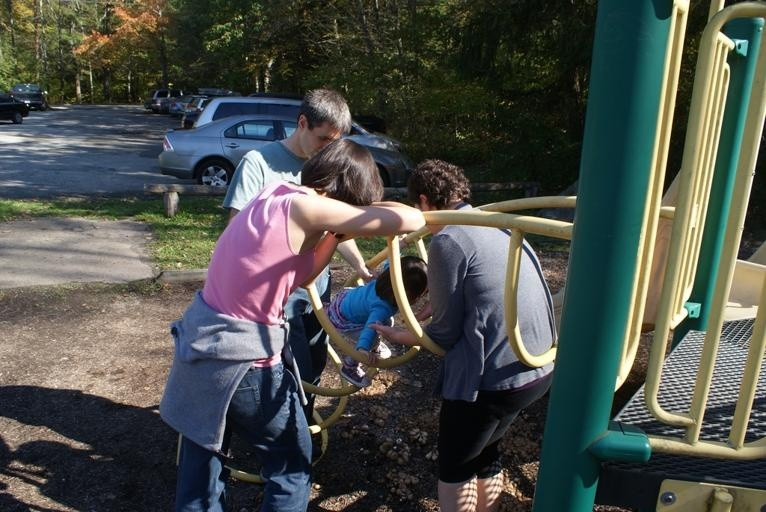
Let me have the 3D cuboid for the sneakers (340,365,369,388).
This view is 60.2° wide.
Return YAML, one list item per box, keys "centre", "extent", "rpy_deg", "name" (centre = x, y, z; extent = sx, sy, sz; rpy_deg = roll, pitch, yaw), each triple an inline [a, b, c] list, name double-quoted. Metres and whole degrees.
- centre: [-0.157, 0.701, 3.907]
  extent: [0.201, 0.081, 0.075]
  rpy_deg: [19, 8, 38]
  name: "sneakers"
